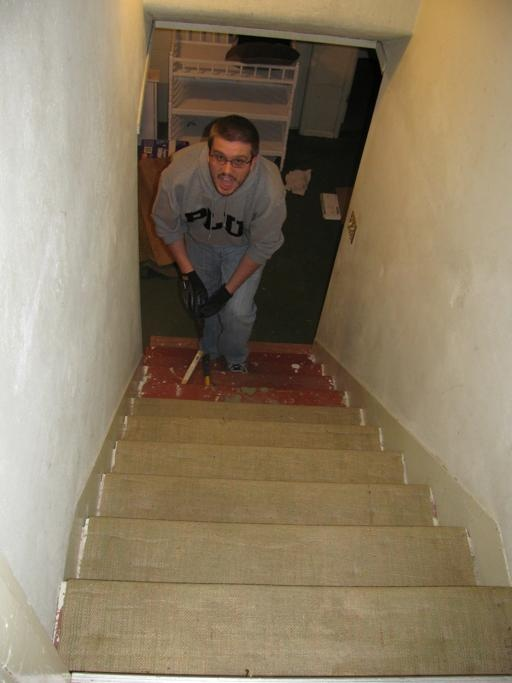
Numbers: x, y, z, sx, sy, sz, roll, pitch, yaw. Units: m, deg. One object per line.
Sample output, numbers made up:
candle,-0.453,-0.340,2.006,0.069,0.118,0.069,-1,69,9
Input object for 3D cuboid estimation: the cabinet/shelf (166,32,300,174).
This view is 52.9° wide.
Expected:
cabinet/shelf,-0.262,-2.212,5.053,1.225,1.277,1.238,1,51,-4

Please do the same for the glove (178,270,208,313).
glove,-0.338,-0.249,2.737,0.107,0.212,0.285,2,-9,6

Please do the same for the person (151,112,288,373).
person,-0.215,-0.422,2.632,0.572,1.486,0.544,30,37,27

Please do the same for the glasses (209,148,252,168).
glasses,-0.109,-0.738,2.079,0.163,0.057,0.051,9,33,-6
